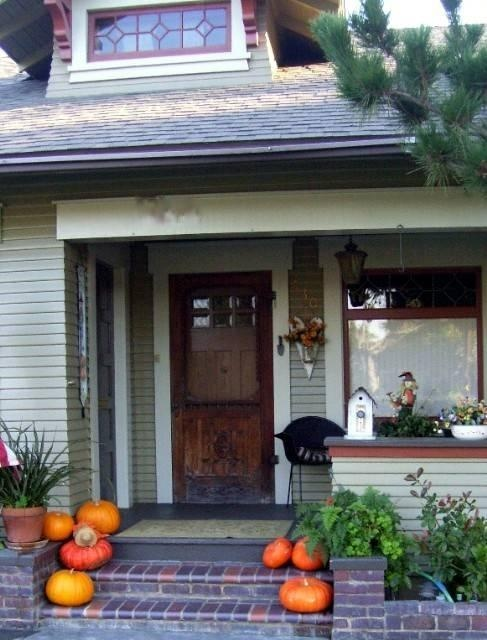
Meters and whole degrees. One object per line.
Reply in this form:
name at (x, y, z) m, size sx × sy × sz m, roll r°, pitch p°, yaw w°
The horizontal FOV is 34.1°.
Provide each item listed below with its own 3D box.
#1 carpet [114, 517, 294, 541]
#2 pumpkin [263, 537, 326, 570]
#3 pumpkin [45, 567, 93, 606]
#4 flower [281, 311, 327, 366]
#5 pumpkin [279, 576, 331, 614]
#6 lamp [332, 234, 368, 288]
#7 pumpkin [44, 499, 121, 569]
carpet at (-0.279, 1.626, 6.232) m, size 1.248 × 0.018 × 0.888 m, roll -2°, pitch -4°, yaw 9°
pumpkin at (0.343, 1.612, 5.543) m, size 0.442 × 0.203 × 0.308 m, roll -2°, pitch -5°, yaw 9°
pumpkin at (-1.183, 1.816, 5.416) m, size 0.333 × 0.216 × 0.212 m, roll 0°, pitch -5°, yaw -12°
flower at (0.562, 0.181, 7.399) m, size 0.380 × 0.454 × 0.164 m, roll -1°, pitch -5°, yaw 2°
pumpkin at (0.402, 1.768, 5.121) m, size 0.340 × 0.192 × 0.201 m, roll -1°, pitch -5°, yaw 3°
lamp at (0.916, -0.519, 6.890) m, size 0.250 × 0.424 × 0.272 m, roll 2°, pitch 2°, yaw 3°
pumpkin at (-1.165, 1.554, 5.801) m, size 0.425 × 0.381 × 0.454 m, roll 5°, pitch 3°, yaw 4°
